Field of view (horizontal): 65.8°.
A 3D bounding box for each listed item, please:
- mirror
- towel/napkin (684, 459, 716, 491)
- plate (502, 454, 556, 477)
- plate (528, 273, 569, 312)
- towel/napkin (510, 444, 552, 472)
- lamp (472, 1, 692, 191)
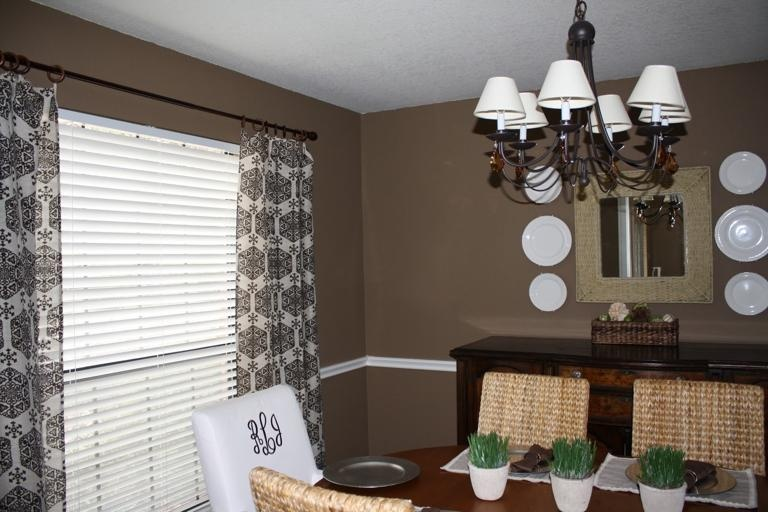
[{"bbox_3d":[2.045,-0.178,4.590,1.076,1.106,0.083,-1,-4,22],"label":"mirror"},{"bbox_3d":[1.459,1.017,2.737,0.127,0.106,0.272,-3,-5,28],"label":"towel/napkin"},{"bbox_3d":[0.709,1.025,2.946,0.274,0.108,0.099,2,-6,-2],"label":"plate"},{"bbox_3d":[1.358,0.288,4.905,0.303,0.311,0.060,-1,-4,12],"label":"plate"},{"bbox_3d":[0.743,0.997,2.941,0.280,0.118,0.096,7,-12,-34],"label":"towel/napkin"},{"bbox_3d":[1.299,-1.053,3.742,0.949,1.124,1.055,3,-4,-26],"label":"lamp"}]
